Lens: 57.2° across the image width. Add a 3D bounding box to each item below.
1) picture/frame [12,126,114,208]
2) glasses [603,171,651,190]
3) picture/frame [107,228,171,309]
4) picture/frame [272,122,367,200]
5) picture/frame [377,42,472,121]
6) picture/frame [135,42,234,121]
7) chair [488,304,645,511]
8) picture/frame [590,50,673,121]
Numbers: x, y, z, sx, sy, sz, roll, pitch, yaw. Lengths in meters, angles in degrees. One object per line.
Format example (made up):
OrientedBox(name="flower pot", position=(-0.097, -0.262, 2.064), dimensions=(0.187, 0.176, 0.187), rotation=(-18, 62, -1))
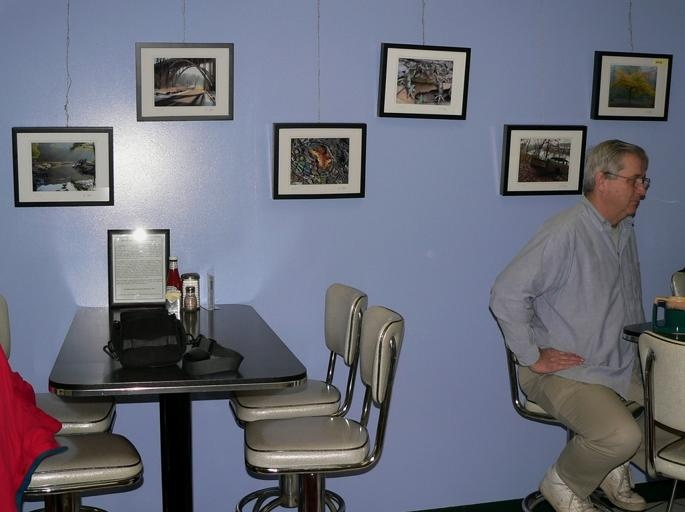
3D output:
OrientedBox(name="picture/frame", position=(-1.370, -0.442, 3.024), dimensions=(0.370, 0.332, 0.028), rotation=(0, 6, -6))
OrientedBox(name="glasses", position=(1.305, -0.358, 2.871), dimensions=(0.124, 0.041, 0.123), rotation=(21, 11, 32))
OrientedBox(name="picture/frame", position=(-1.014, 0.073, 3.081), dimensions=(0.365, 0.488, 0.039), rotation=(1, 2, -11))
OrientedBox(name="picture/frame", position=(-0.138, -0.501, 3.208), dimensions=(0.377, 0.324, 0.032), rotation=(0, 6, -13))
OrientedBox(name="picture/frame", position=(0.405, -0.921, 3.258), dimensions=(0.385, 0.341, 0.030), rotation=(1, 9, -7))
OrientedBox(name="picture/frame", position=(-0.793, -0.869, 3.062), dimensions=(0.373, 0.321, 0.016), rotation=(-1, 9, -7))
OrientedBox(name="chair", position=(1.030, 0.697, 2.871), dimensions=(0.749, 0.911, 0.526), rotation=(4, 12, 7))
OrientedBox(name="picture/frame", position=(1.583, -0.956, 3.471), dimensions=(0.356, 0.319, 0.040), rotation=(4, 7, -10))
